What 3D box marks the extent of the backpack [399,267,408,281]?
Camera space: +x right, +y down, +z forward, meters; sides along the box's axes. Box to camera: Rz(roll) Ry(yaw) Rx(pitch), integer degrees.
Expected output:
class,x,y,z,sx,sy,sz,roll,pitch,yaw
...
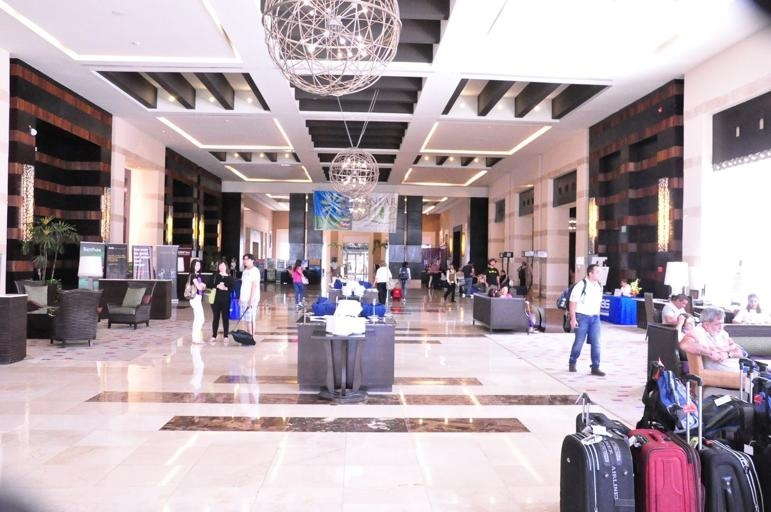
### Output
class,x,y,z,sx,sy,sz,roll,pitch,yaw
backpack,0.677,0.662,20.036,0.480,0.646,0.356,0,-3,-3

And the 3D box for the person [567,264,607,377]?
class,x,y,z,sx,sy,sz,roll,pitch,yaw
person,3.445,1.082,9.381,0.572,1.843,0.685,0,-4,18

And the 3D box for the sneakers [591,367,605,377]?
class,x,y,z,sx,sy,sz,roll,pitch,yaw
sneakers,3.527,1.927,9.046,0.222,0.121,0.221,0,-4,21

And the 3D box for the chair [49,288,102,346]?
class,x,y,z,sx,sy,sz,roll,pitch,yaw
chair,-6.061,1.206,10.651,0.804,1.081,0.378,3,-4,-25

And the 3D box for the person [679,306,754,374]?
class,x,y,z,sx,sy,sz,roll,pitch,yaw
person,4.400,1.206,7.195,0.737,0.991,0.549,-3,-5,-17

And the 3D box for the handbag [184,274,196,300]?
class,x,y,z,sx,sy,sz,roll,pitch,yaw
handbag,-3.982,0.627,11.078,0.197,0.536,0.682,3,-4,-25

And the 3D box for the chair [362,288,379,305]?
class,x,y,z,sx,sy,sz,roll,pitch,yaw
chair,-0.430,1.105,14.752,0.359,0.648,0.668,-2,-3,23

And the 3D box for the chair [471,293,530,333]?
class,x,y,z,sx,sy,sz,roll,pitch,yaw
chair,2.813,1.408,13.331,0.891,0.870,1.193,2,-4,-14

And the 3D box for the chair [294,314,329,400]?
class,x,y,z,sx,sy,sz,roll,pitch,yaw
chair,-1.083,1.461,7.995,0.424,1.083,0.415,1,-4,-8

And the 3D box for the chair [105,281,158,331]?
class,x,y,z,sx,sy,sz,roll,pitch,yaw
chair,-6.020,1.180,13.264,1.052,1.242,1.154,0,-1,4

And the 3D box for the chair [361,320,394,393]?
class,x,y,z,sx,sy,sz,roll,pitch,yaw
chair,-0.126,1.501,8.084,0.467,1.040,0.336,1,-4,-3

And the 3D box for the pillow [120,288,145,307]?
class,x,y,z,sx,sy,sz,roll,pitch,yaw
pillow,-5.962,0.965,12.923,0.483,0.431,0.151,1,-16,11

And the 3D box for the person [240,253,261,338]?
class,x,y,z,sx,sy,sz,roll,pitch,yaw
person,-2.726,0.796,10.890,0.357,1.599,1.073,2,-4,-15

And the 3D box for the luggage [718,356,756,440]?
class,x,y,z,sx,sy,sz,roll,pitch,yaw
luggage,3.621,1.487,5.614,0.313,0.858,0.616,3,-8,11

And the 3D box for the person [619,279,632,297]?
class,x,y,z,sx,sy,sz,roll,pitch,yaw
person,6.524,0.881,14.789,0.282,0.456,0.765,-1,-4,24
